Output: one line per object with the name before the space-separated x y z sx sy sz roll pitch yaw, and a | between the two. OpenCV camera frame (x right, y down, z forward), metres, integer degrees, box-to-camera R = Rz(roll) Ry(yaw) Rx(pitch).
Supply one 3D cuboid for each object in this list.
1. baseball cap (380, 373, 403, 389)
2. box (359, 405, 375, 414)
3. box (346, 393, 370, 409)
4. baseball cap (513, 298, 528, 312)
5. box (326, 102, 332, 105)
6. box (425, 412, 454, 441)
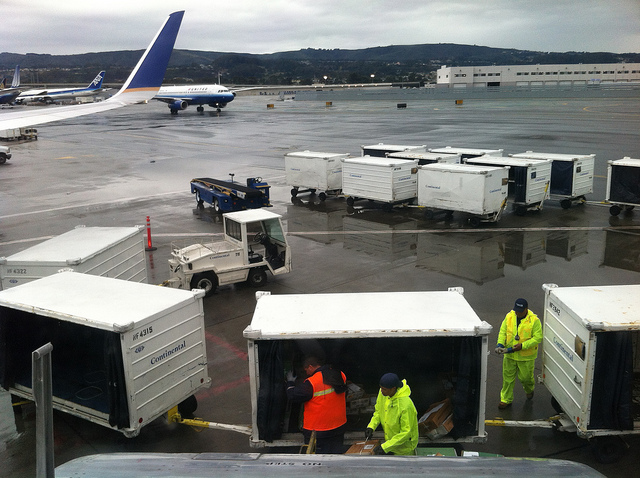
baseball cap | 1.323 2.586 10.884 0.264 0.317 0.456 8 15 35
box | 1.005 3.611 12.579 0.243 0.165 0.133 1 -12 4
box | 0.833 3.449 12.672 0.347 0.105 0.334 -8 -1 25
baseball cap | 4.689 1.484 13.767 0.245 0.171 0.373 15 28 40
box | 1.801 -25.263 110.073 1.152 0.540 0.997 7 23 22
box | 2.338 3.793 12.238 0.724 0.192 0.802 -12 12 20
